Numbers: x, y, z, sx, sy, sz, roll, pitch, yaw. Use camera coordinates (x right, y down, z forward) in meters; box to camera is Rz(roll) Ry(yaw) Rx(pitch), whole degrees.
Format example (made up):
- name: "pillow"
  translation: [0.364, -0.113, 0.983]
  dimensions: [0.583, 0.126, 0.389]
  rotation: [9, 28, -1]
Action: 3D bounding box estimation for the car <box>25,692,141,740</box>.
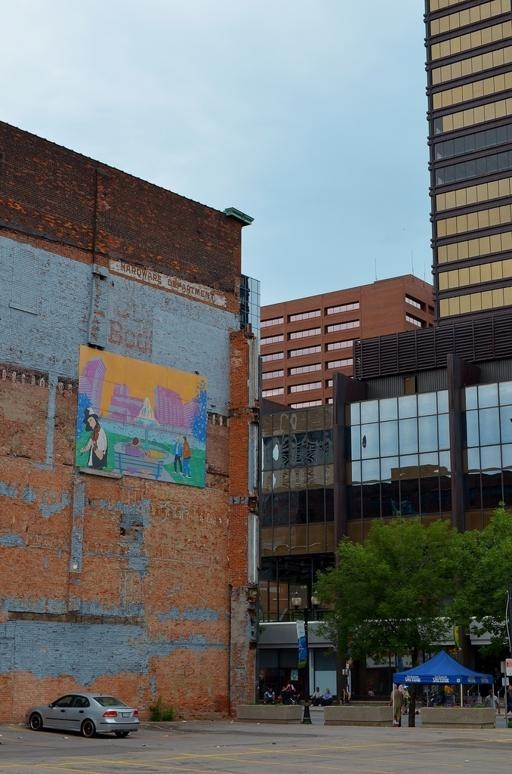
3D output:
- name: "car"
  translation: [-4.445, 8.256, 27.045]
  dimensions: [2.629, 0.927, 1.157]
  rotation: [-1, -14, 31]
